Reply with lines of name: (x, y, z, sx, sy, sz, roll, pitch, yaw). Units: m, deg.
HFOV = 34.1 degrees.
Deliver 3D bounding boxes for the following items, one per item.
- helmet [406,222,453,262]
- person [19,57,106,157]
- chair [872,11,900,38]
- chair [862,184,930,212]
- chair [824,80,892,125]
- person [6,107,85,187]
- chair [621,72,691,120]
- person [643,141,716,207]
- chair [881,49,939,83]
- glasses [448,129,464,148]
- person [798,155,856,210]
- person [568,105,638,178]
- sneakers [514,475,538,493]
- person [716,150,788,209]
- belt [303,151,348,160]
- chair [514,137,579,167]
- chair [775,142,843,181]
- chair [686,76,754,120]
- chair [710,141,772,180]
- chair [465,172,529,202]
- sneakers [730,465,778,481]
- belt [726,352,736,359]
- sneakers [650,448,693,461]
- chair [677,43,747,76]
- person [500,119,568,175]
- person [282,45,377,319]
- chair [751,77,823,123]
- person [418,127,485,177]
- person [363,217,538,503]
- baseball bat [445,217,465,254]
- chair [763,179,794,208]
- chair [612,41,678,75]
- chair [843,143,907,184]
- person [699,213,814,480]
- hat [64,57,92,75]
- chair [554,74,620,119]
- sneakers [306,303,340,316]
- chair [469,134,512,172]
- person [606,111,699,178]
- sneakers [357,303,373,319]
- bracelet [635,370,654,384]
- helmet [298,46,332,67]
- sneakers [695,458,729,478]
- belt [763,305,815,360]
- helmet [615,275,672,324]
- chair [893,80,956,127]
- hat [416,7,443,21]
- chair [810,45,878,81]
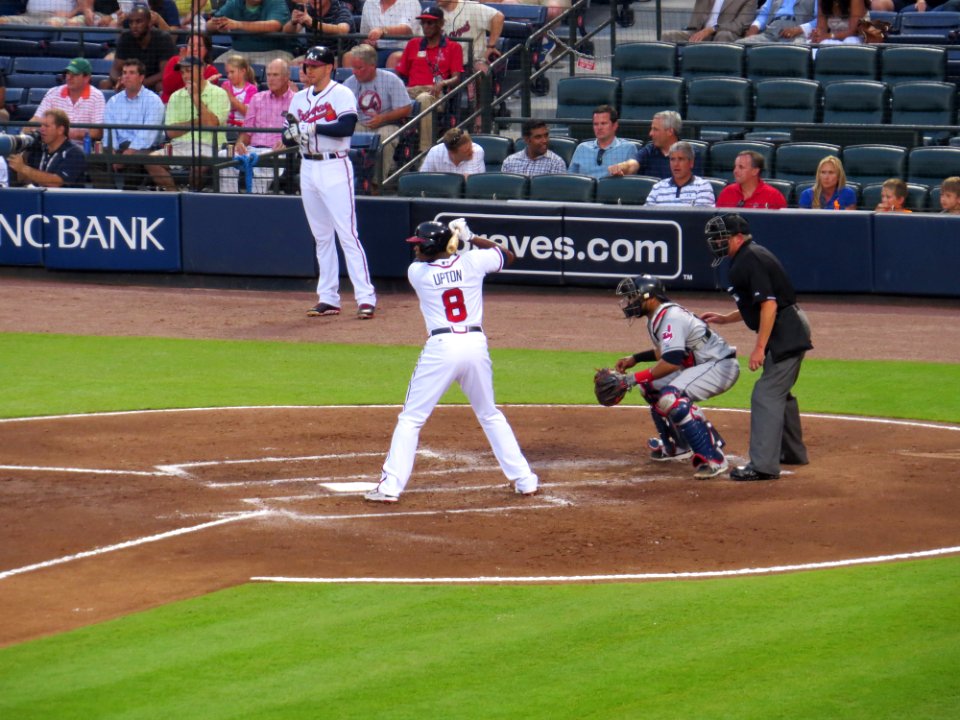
helmet: (-0.388, -0.845, 11.123, 0.368, 0.231, 0.234, 4, 15, 11)
person: (-5.315, -3.195, 19.915, 1.252, 1.204, 1.069, 0, 17, 2)
chair: (5.624, -4.638, 21.585, 0.406, 0.361, 0.706, 0, 8, 13)
chair: (4.702, -1.787, 17.598, 0.516, 0.386, 0.469, 3, -16, -3)
chair: (4.681, -3.155, 19.344, 0.837, 0.624, 0.561, 5, 15, 14)
person: (-5.177, -2.478, 18.540, 0.861, 0.878, 0.930, -3, 8, -7)
chair: (2.260, -3.347, 20.050, 0.787, 0.664, 0.642, 2, 7, 9)
person: (2.288, -1.994, 17.477, 0.596, 0.775, 1.054, -12, 16, -37)
chair: (5.468, -3.678, 19.555, 0.587, 0.469, 0.545, 4, 5, 11)
glasses: (-0.327, -2.613, 18.450, 0.202, 0.199, 0.219, -16, 27, 0)
person: (3.940, -1.963, 17.511, 0.846, 0.631, 0.426, 3, 8, 17)
person: (1.531, -2.505, 18.427, 1.161, 0.850, 0.634, 11, 16, 41)
sneakers: (0.351, 0.897, 11.264, 0.174, 0.134, 0.122, -11, 0, 28)
person: (2.975, -1.913, 17.000, 0.457, 0.662, 0.899, -15, 18, -36)
belt: (-1.612, -2.099, 16.215, 0.462, 0.086, 0.161, -1, 7, 1)
chair: (0.848, -2.590, 19.340, 0.606, 0.541, 0.493, 2, 14, -1)
chair: (3.917, -2.335, 18.477, 0.566, 0.607, 0.594, 4, 4, 15)
chair: (3.088, -3.224, 19.862, 0.770, 0.621, 0.608, 1, -8, 8)
chair: (3.192, -2.347, 18.684, 0.579, 0.614, 0.605, 3, 2, 19)
chair: (0.204, -2.010, 18.259, 0.465, 0.487, 0.452, 4, 12, 7)
sneakers: (2.054, 0.860, 11.671, 0.351, 0.112, 0.121, 5, 6, 0)
belt: (1.957, -0.024, 12.097, 0.063, 0.039, 0.067, 8, 14, 44)
sneakers: (1.524, 0.725, 12.206, 0.294, 0.103, 0.111, -2, 16, 3)
chair: (3.073, -3.889, 20.405, 0.617, 0.552, 0.554, 7, 48, 16)
person: (0.663, -2.481, 18.584, 0.796, 0.615, 0.936, -5, 8, -23)
person: (-1.604, -1.819, 16.404, 0.807, 2.881, 0.771, -2, 9, 1)
chair: (3.861, -3.194, 19.374, 0.634, 0.697, 0.677, 4, 13, 15)
person: (-0.346, -2.482, 18.885, 0.622, 0.914, 0.509, -9, 45, -9)
person: (-0.185, 0.017, 11.093, 0.800, 1.976, 1.047, 5, 11, 39)
baseball bat: (-0.167, -0.879, 11.055, 0.114, 0.237, 0.198, -2, 3, 1)
chair: (3.428, -1.893, 17.842, 0.371, 0.343, 0.302, 0, 22, 5)
chair: (2.264, -4.008, 21.034, 0.762, 0.668, 0.572, 4, 14, 14)
chair: (4.608, -2.272, 18.240, 0.565, 0.586, 0.572, 3, 5, 15)
person: (2.127, -0.104, 11.822, 0.767, 1.969, 0.692, -1, 9, 10)
hat: (-5.073, -3.685, 19.810, 0.317, 0.182, 0.387, 12, 15, 14)
chair: (1.357, -3.364, 20.073, 0.668, 0.703, 0.700, 3, 9, 16)
sneakers: (-1.688, -0.537, 16.929, 0.352, 0.115, 0.123, 0, 8, -28)
chair: (0.198, -2.526, 19.315, 0.507, 0.523, 0.515, 0, 10, 9)
person: (1.963, -2.417, 17.666, 1.008, 0.859, 0.751, 3, 17, 3)
sneakers: (-1.227, -0.518, 16.767, 0.214, 0.175, 0.412, -1, 0, -2)
bracelet: (1.256, 0.134, 11.873, 0.136, 0.097, 0.085, -15, 47, 23)
helmet: (-1.642, -3.103, 16.099, 0.214, 0.122, 0.279, 14, 14, 27)
sneakers: (1.770, 0.828, 11.824, 0.107, 0.127, 0.306, -25, -8, 32)
belt: (2.373, -0.237, 11.866, 0.258, 0.327, 0.368, -4, 49, 25)
helmet: (1.248, -0.463, 11.827, 0.412, 0.269, 0.286, 1, 9, 3)
chair: (5.396, -3.083, 18.918, 0.591, 0.644, 0.653, 4, 6, 17)
hat: (-0.599, -4.399, 19.789, 0.337, 0.140, 0.231, -3, 5, -42)
chair: (4.695, -3.735, 19.798, 0.637, 0.491, 0.585, 3, 14, 8)
